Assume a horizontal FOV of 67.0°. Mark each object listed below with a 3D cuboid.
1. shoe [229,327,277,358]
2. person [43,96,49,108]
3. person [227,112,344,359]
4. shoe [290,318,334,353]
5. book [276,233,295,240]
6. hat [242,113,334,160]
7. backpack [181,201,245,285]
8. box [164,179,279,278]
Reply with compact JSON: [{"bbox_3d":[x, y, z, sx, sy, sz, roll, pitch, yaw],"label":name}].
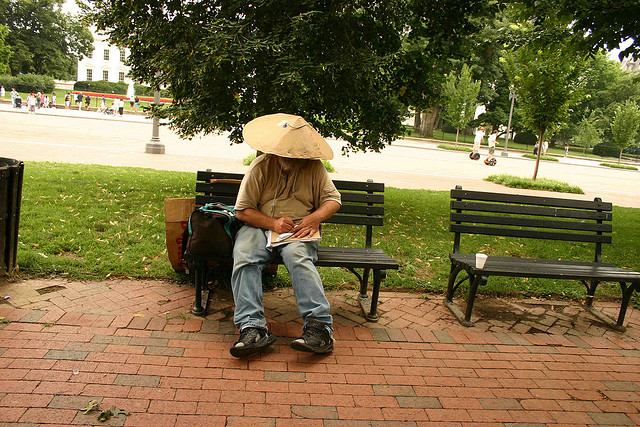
[{"bbox_3d":[-0.699,1.328,4.980,0.459,0.285,0.239,1,10,-9],"label":"shoe"},{"bbox_3d":[-25.331,-10.211,44.297,0.480,0.923,0.790,-3,12,-30],"label":"person"},{"bbox_3d":[-0.388,0.142,5.417,1.250,2.544,1.378,4,11,-1],"label":"person"},{"bbox_3d":[-0.065,1.294,5.039,0.329,0.328,0.353,7,11,23],"label":"shoe"},{"bbox_3d":[-0.410,0.253,5.445,0.149,0.030,0.066,-14,56,-20],"label":"book"},{"bbox_3d":[-0.178,-0.912,5.654,1.035,0.233,0.849,8,28,7],"label":"hat"},{"bbox_3d":[-1.197,0.192,5.655,0.485,0.533,0.572,17,9,0],"label":"backpack"},{"bbox_3d":[-1.314,0.158,6.671,1.528,1.131,1.339,1,3,-8],"label":"box"}]
